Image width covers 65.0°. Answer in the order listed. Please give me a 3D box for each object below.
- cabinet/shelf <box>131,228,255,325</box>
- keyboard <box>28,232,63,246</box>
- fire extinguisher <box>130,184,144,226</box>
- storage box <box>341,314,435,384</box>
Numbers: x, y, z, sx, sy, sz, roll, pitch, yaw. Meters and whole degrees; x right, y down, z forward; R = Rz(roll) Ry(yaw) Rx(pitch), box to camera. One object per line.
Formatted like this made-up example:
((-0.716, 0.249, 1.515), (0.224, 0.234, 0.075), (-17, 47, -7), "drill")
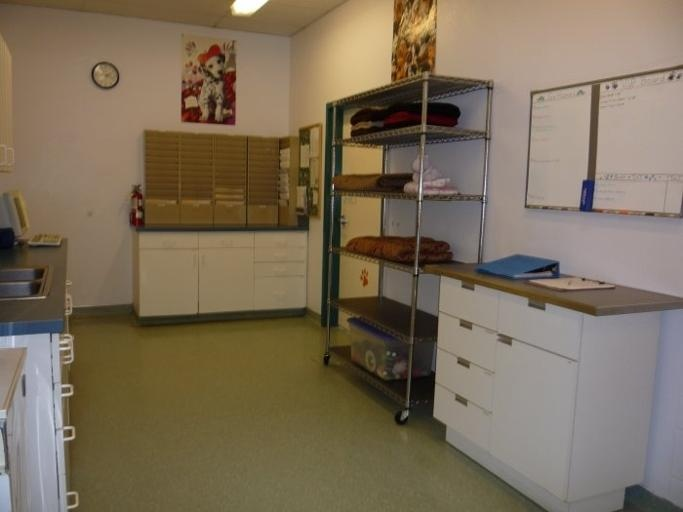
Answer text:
((-1.617, 0.084, 5.423), (1.123, 0.894, 0.671), (-1, 7, -12), "cabinet/shelf")
((-2.312, -0.129, 4.189), (0.232, 0.043, 0.644), (-5, 13, -27), "keyboard")
((-2.084, -0.510, 5.441), (0.146, 0.408, 0.369), (-3, 12, -22), "fire extinguisher")
((0.343, 0.650, 3.868), (0.348, 0.270, 0.524), (2, 4, -34), "storage box")
